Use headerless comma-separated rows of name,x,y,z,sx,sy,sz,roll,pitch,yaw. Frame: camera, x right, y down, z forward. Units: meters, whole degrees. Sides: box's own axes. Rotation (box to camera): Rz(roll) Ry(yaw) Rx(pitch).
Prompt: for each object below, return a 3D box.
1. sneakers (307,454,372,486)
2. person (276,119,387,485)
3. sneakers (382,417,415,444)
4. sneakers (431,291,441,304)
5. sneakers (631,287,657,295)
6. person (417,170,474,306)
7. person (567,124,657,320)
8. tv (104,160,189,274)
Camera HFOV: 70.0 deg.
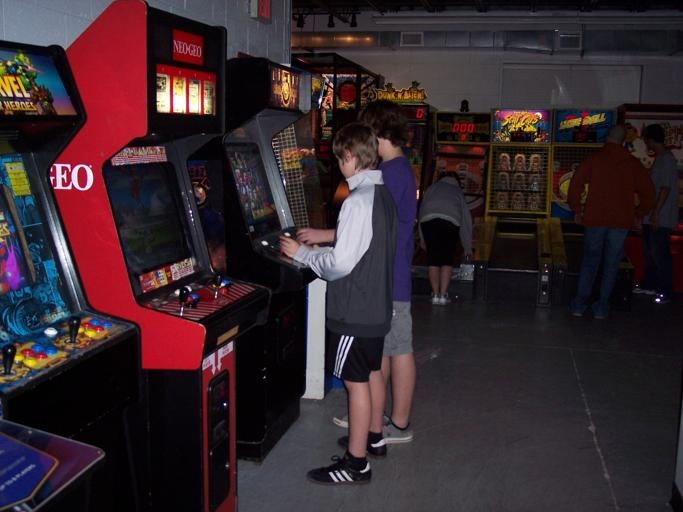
sneakers,-0.001,1.165,2.708,0.373,0.181,0.149,2,3,1
person,0.022,0.273,2.584,0.506,1.908,0.452,3,11,13
sneakers,0.341,1.097,3.069,0.232,0.105,0.089,2,4,-5
sneakers,1.154,0.514,5.971,0.128,0.157,0.360,0,-4,7
sneakers,4.015,0.456,6.533,0.119,0.145,0.323,-7,5,-43
person,1.288,-0.228,6.038,0.529,1.574,0.729,7,13,32
person,3.002,-0.384,5.548,0.821,2.116,0.553,3,11,14
tv,-0.830,-0.154,2.048,0.033,0.459,0.417,-10,9,26
